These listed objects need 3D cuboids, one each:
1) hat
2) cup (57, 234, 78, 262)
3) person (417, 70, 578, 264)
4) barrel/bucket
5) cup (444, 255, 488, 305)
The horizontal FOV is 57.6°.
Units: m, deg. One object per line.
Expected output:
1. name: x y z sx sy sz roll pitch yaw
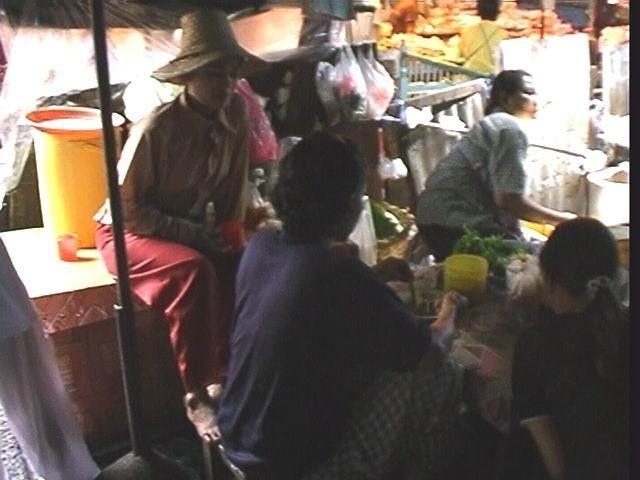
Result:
1. hat: -0.392 -0.608 1.976 0.242 0.132 0.247 -9 11 -8
2. cup: -0.958 0.038 2.257 0.083 0.098 0.085 0 2 0
3. person: 0.602 -0.120 2.080 0.496 0.914 0.386 7 12 10
4. barrel/bucket: -0.955 -0.294 2.504 0.472 0.673 0.482 5 14 -1
5. cup: 0.487 0.137 2.056 0.154 0.156 0.157 2 2 0
